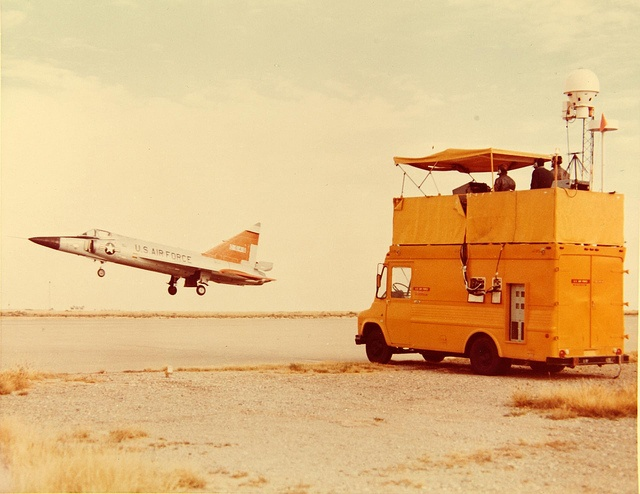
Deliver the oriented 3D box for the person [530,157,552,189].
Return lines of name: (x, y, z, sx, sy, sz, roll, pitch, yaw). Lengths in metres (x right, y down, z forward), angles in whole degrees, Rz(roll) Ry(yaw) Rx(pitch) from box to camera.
person: (5.927, -2.008, 31.235, 0.596, 1.067, 2.064, 0, -3, 11)

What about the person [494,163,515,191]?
person: (4.961, -1.905, 31.688, 0.559, 0.747, 0.778, 0, -3, 8)

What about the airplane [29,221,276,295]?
airplane: (-6.452, 0.219, 53.097, 1.102, 3.539, 14.029, -2, -4, 31)

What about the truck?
truck: (4.809, 1.590, 32.288, 3.851, 3.410, 6.427, 2, -1, -45)
